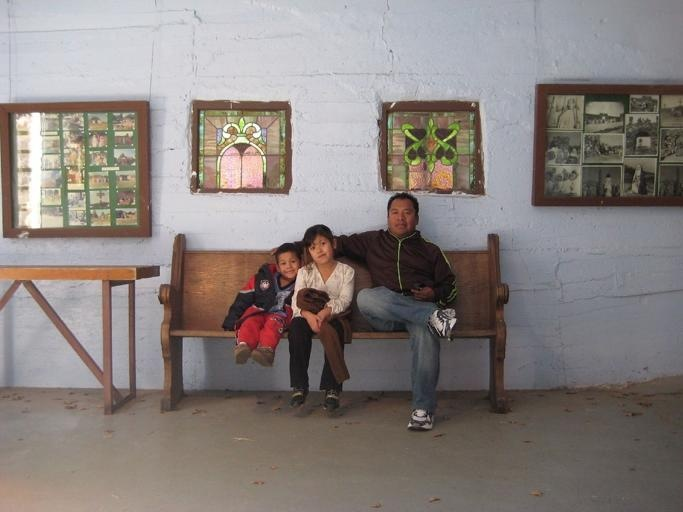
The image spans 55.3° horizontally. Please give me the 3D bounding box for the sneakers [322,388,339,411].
[{"bbox_3d":[-0.068,0.985,4.476,0.132,0.147,0.353,1,-11,2],"label":"sneakers"}]

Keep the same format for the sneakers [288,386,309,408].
[{"bbox_3d":[-0.282,0.989,4.509,0.106,0.196,0.244,-1,5,-1],"label":"sneakers"}]

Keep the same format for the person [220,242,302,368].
[{"bbox_3d":[-0.567,0.336,4.731,0.519,0.902,0.349,11,-38,2],"label":"person"}]

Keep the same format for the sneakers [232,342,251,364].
[{"bbox_3d":[-0.690,0.676,4.489,0.088,0.109,0.161,7,-46,-17],"label":"sneakers"}]

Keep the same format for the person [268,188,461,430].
[{"bbox_3d":[0.213,0.401,4.754,1.486,1.872,1.056,-2,-13,18],"label":"person"}]

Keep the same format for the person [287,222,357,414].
[{"bbox_3d":[-0.137,0.408,4.652,0.456,1.250,0.649,-1,6,2],"label":"person"}]

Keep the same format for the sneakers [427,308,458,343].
[{"bbox_3d":[0.680,0.450,4.414,0.133,0.103,0.289,5,-6,24],"label":"sneakers"}]
